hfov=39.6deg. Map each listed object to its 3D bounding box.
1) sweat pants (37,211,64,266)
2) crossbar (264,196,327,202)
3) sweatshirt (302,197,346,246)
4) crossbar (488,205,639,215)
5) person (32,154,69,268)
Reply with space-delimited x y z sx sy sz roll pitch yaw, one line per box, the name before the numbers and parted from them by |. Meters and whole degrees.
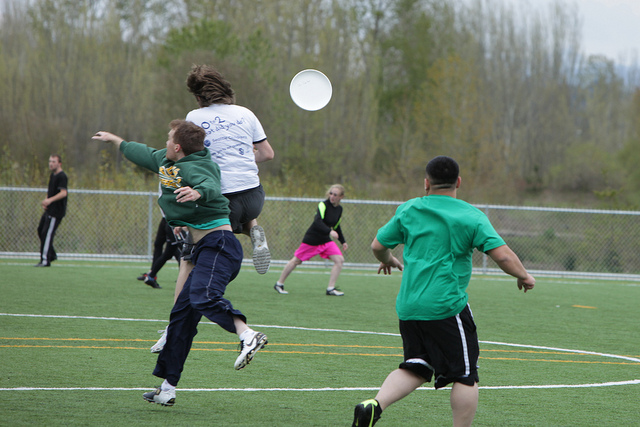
sweat pants | -6.744 0.695 22.233 0.603 1.439 0.409 -1 14 -15
crossbar | -0.715 -0.373 25.452 1.795 0.167 0.184 3 2 -7
sweatshirt | 0.072 0.256 20.510 0.853 1.091 0.462 0 13 -10
crossbar | 6.912 -0.056 25.216 4.210 0.227 0.483 4 14 3
person | -6.738 -0.020 22.157 0.854 2.908 0.600 -2 14 -19
